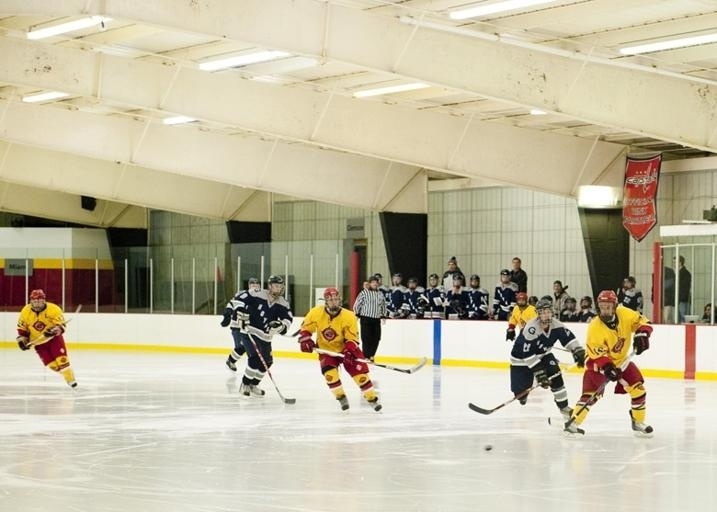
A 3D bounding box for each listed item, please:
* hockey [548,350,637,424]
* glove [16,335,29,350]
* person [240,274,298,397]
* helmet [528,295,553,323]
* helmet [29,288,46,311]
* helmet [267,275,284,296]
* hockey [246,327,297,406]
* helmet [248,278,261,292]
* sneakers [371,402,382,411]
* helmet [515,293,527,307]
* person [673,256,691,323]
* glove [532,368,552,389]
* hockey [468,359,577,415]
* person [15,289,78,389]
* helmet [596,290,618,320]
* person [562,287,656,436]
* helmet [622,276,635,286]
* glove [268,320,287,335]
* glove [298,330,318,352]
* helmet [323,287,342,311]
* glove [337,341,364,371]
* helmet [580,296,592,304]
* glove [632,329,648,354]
[{"bbox_3d":[2.424,1.411,8.768,0.141,0.243,1.721,0,-30,-18],"label":"hockey"},{"bbox_3d":[-4.274,1.145,10.799,0.188,0.189,0.070,15,26,27],"label":"glove"},{"bbox_3d":[-1.193,1.024,10.430,0.594,1.513,1.020,2,-2,-41],"label":"person"},{"bbox_3d":[2.072,0.634,9.755,0.303,0.367,0.401,-2,-7,-2],"label":"helmet"},{"bbox_3d":[-4.236,0.609,11.145,0.179,0.274,0.493,1,-2,-22],"label":"helmet"},{"bbox_3d":[-0.966,0.364,10.131,0.220,0.253,0.245,0,-3,-41],"label":"helmet"},{"bbox_3d":[-1.218,1.565,11.621,0.221,1.331,0.160,-1,-40,-43],"label":"hockey"},{"bbox_3d":[-1.570,0.445,12.568,0.225,0.271,0.264,3,3,-14],"label":"helmet"},{"bbox_3d":[0.185,1.690,9.357,0.106,0.128,0.286,0,-2,6],"label":"sneakers"},{"bbox_3d":[2.144,0.600,11.199,0.160,0.192,0.210,1,-11,7],"label":"helmet"},{"bbox_3d":[4.879,0.511,12.725,0.207,1.005,0.218,0,-2,21],"label":"person"},{"bbox_3d":[1.944,1.355,8.967,0.156,0.125,0.272,-27,22,1],"label":"glove"},{"bbox_3d":[1.994,1.634,10.209,1.735,0.215,0.181,-26,9,-28],"label":"hockey"},{"bbox_3d":[-4.169,1.143,11.366,0.765,1.326,1.247,1,-2,-20],"label":"person"},{"bbox_3d":[2.324,0.483,7.961,0.178,0.277,0.257,0,-2,17],"label":"helmet"},{"bbox_3d":[2.395,1.036,8.024,0.768,1.377,0.523,2,-2,-29],"label":"person"},{"bbox_3d":[4.311,0.421,13.547,0.182,0.161,0.145,8,-9,-30],"label":"helmet"},{"bbox_3d":[-0.980,0.881,10.244,0.191,0.155,0.188,3,-2,43],"label":"glove"},{"bbox_3d":[-0.576,0.952,9.283,0.190,0.231,0.267,1,-2,-3],"label":"glove"},{"bbox_3d":[-0.271,0.488,9.284,0.200,0.248,0.241,-3,4,-21],"label":"helmet"},{"bbox_3d":[-0.089,1.104,9.222,0.261,0.271,0.084,2,8,18],"label":"glove"},{"bbox_3d":[3.934,0.791,14.730,0.135,0.166,0.187,-4,-28,17],"label":"helmet"},{"bbox_3d":[2.658,0.833,8.000,0.131,0.233,0.091,9,-10,40],"label":"glove"}]
